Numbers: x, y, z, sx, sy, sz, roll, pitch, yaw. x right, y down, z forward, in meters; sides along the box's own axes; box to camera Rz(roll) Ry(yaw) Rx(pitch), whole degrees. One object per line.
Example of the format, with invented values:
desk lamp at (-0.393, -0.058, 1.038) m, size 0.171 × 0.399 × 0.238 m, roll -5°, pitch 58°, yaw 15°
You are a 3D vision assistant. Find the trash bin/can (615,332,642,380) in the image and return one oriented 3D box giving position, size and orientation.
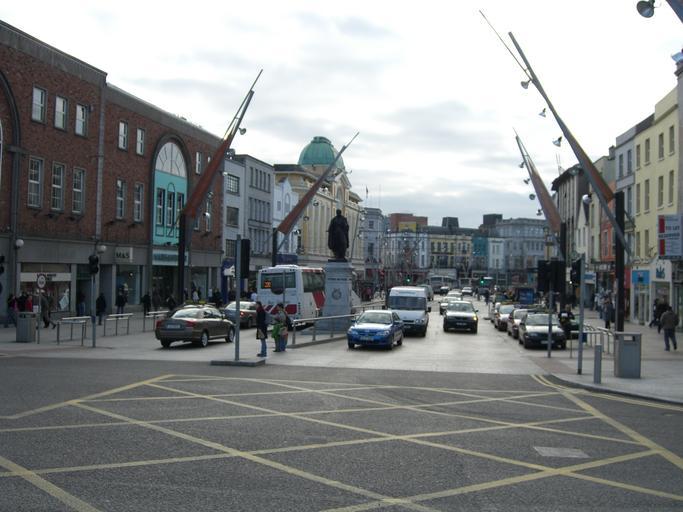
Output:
trash bin/can at (8.500, 2.941, 20.859) m, size 0.710 × 1.330 × 0.683 m, roll -3°, pitch -5°, yaw 19°

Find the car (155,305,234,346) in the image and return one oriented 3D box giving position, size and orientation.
car at (-5.997, 2.837, 28.516) m, size 1.530 × 1.645 × 3.381 m, roll -3°, pitch -6°, yaw 19°

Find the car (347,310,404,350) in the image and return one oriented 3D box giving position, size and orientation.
car at (1.315, 3.012, 29.209) m, size 1.849 × 1.610 × 2.819 m, roll -2°, pitch -6°, yaw 11°

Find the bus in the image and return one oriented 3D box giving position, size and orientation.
bus at (-2.942, 1.945, 39.238) m, size 1.869 × 2.649 × 5.764 m, roll 0°, pitch 1°, yaw 12°

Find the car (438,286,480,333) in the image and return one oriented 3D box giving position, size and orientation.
car at (7.160, 3.550, 43.357) m, size 1.856 × 2.042 × 4.691 m, roll 0°, pitch -8°, yaw 5°

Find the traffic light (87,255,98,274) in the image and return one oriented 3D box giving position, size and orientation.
traffic light at (-9.597, 0.320, 27.075) m, size 0.282 × 0.668 × 0.582 m, roll 2°, pitch -6°, yaw -29°
